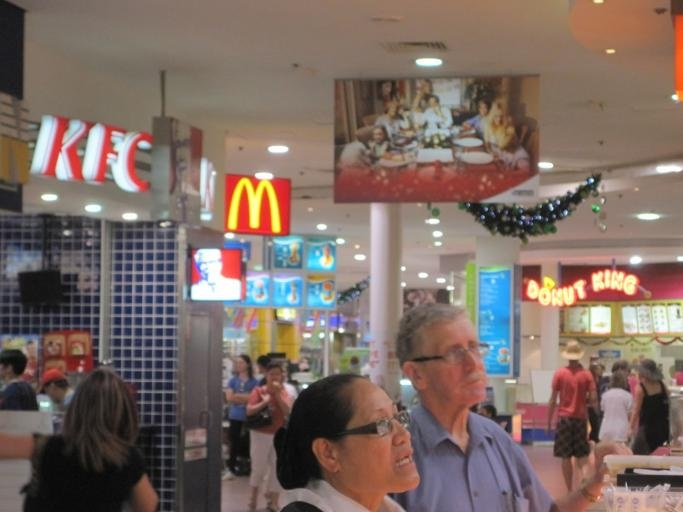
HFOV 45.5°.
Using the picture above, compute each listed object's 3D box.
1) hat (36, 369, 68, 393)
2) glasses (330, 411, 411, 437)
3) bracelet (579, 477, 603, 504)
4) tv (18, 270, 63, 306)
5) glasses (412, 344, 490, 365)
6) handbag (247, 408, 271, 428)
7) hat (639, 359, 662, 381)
[{"bbox_3d":[-2.723,1.133,7.616,0.303,0.190,0.223,-7,1,19],"label":"hat"},{"bbox_3d":[0.164,0.654,3.211,0.342,0.085,0.102,5,-9,-37],"label":"glasses"},{"bbox_3d":[1.152,1.063,3.739,0.097,0.074,0.102,-3,-3,5],"label":"bracelet"},{"bbox_3d":[-3.049,0.320,8.217,0.445,0.344,0.179,-1,-6,4],"label":"tv"},{"bbox_3d":[0.488,0.439,3.727,0.319,0.083,0.109,2,-7,-14],"label":"glasses"},{"bbox_3d":[-0.878,1.722,8.731,0.160,0.164,0.071,-12,-25,8],"label":"handbag"},{"bbox_3d":[3.608,1.338,9.493,0.328,0.103,0.308,-4,23,-46],"label":"hat"}]
